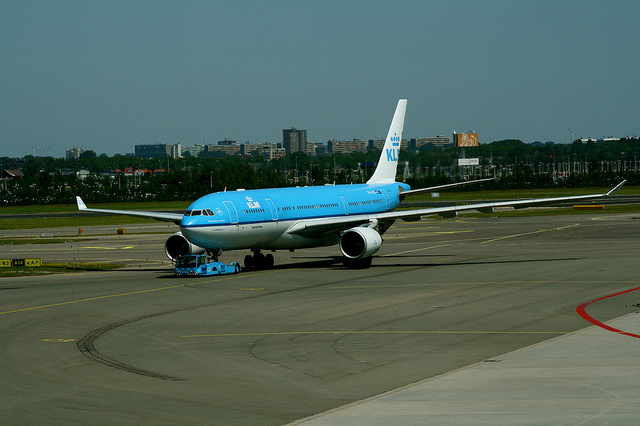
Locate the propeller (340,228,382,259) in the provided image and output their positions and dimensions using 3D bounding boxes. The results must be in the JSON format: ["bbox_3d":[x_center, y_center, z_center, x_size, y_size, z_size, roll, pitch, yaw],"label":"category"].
[{"bbox_3d":[2.453,1.921,56.947,2.115,1.819,1.686,2,14,24],"label":"propeller"}]

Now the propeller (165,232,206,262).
[{"bbox_3d":[-7.832,2.025,58.876,1.924,1.366,3.449,4,15,34],"label":"propeller"}]
